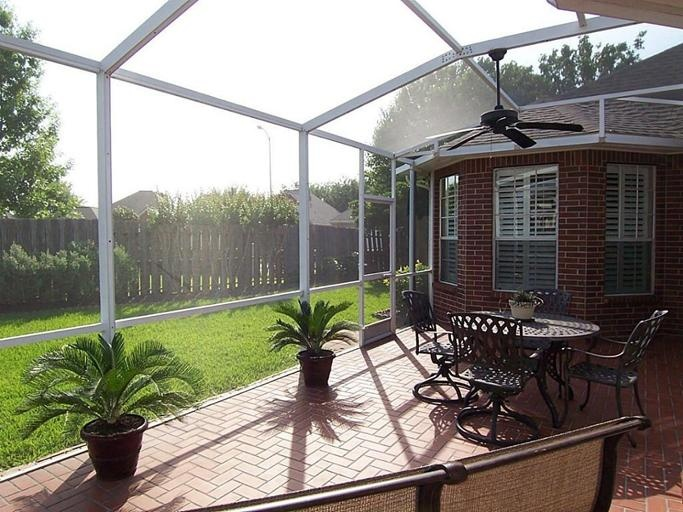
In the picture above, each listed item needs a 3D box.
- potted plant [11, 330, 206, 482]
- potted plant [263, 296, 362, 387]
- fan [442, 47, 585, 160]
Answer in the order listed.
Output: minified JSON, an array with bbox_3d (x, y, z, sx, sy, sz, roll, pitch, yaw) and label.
[{"bbox_3d":[-2.057,1.421,4.475,1.482,1.103,1.215,0,-4,-26],"label":"potted plant"},{"bbox_3d":[-0.369,1.097,6.820,1.077,0.988,1.145,0,0,2],"label":"potted plant"},{"bbox_3d":[2.064,-1.611,6.019,1.498,1.055,1.466,-7,11,-40],"label":"fan"}]
